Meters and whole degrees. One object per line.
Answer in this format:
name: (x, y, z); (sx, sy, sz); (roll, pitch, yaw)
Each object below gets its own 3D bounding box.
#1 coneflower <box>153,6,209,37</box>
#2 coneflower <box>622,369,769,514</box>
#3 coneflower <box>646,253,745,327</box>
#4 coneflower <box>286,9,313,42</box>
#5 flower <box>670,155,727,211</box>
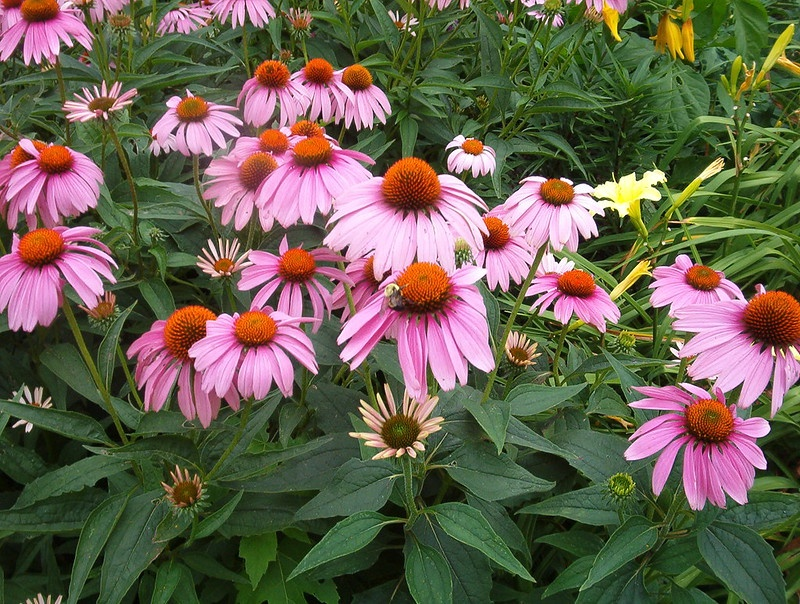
coneflower: (-1.641, -2.076, 5.452); (0.315, 0.144, 0.305); (-38, 27, -29)
coneflower: (1.333, 0.594, 3.234); (0.580, 0.211, 0.607); (9, 37, 5)
coneflower: (1.516, -0.066, 3.792); (0.358, 0.132, 0.392); (-2, 52, -18)
coneflower: (-0.719, -1.983, 5.228); (0.189, 0.201, 0.362); (10, 21, -13)
flower: (2.043, -0.802, 5.015); (0.154, 0.603, 0.146); (11, 41, -6)
